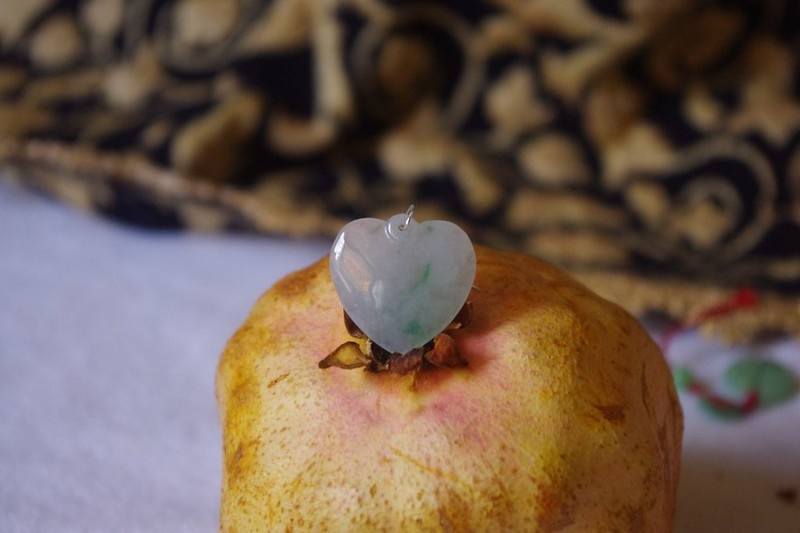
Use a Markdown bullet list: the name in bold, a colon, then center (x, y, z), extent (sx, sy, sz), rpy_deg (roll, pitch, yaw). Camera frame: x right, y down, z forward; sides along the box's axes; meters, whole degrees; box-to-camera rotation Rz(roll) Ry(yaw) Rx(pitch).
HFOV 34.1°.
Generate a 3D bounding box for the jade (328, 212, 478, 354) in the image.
- **jade**: center (0.008, 0.015, 2.150), extent (0.203, 0.221, 0.224), rpy_deg (8, 49, 9)
